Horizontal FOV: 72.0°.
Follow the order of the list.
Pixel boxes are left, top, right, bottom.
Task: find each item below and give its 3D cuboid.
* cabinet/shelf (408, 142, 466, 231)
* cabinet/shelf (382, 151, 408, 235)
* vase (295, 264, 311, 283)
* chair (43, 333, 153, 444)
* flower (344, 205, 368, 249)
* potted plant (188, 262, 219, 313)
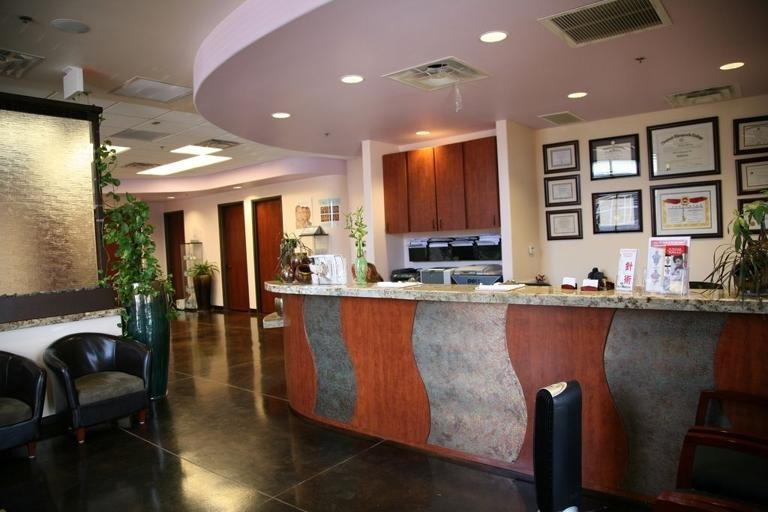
[{"bbox_3d":[0.749,-0.961,7.508,0.854,1.183,0.350,-1,10,16],"label":"cabinet/shelf"},{"bbox_3d":[0.176,-0.933,7.813,0.429,1.155,0.164,0,10,23],"label":"cabinet/shelf"},{"bbox_3d":[-0.852,0.192,5.619,0.164,0.148,0.217,1,8,-2],"label":"vase"},{"bbox_3d":[-2.954,1.307,5.760,1.040,1.064,1.091,0,0,41],"label":"chair"},{"bbox_3d":[-0.257,-0.262,5.718,0.229,0.398,0.196,-12,22,-35],"label":"flower"},{"bbox_3d":[-4.585,0.806,13.369,0.898,1.182,0.726,-1,4,21],"label":"potted plant"}]
